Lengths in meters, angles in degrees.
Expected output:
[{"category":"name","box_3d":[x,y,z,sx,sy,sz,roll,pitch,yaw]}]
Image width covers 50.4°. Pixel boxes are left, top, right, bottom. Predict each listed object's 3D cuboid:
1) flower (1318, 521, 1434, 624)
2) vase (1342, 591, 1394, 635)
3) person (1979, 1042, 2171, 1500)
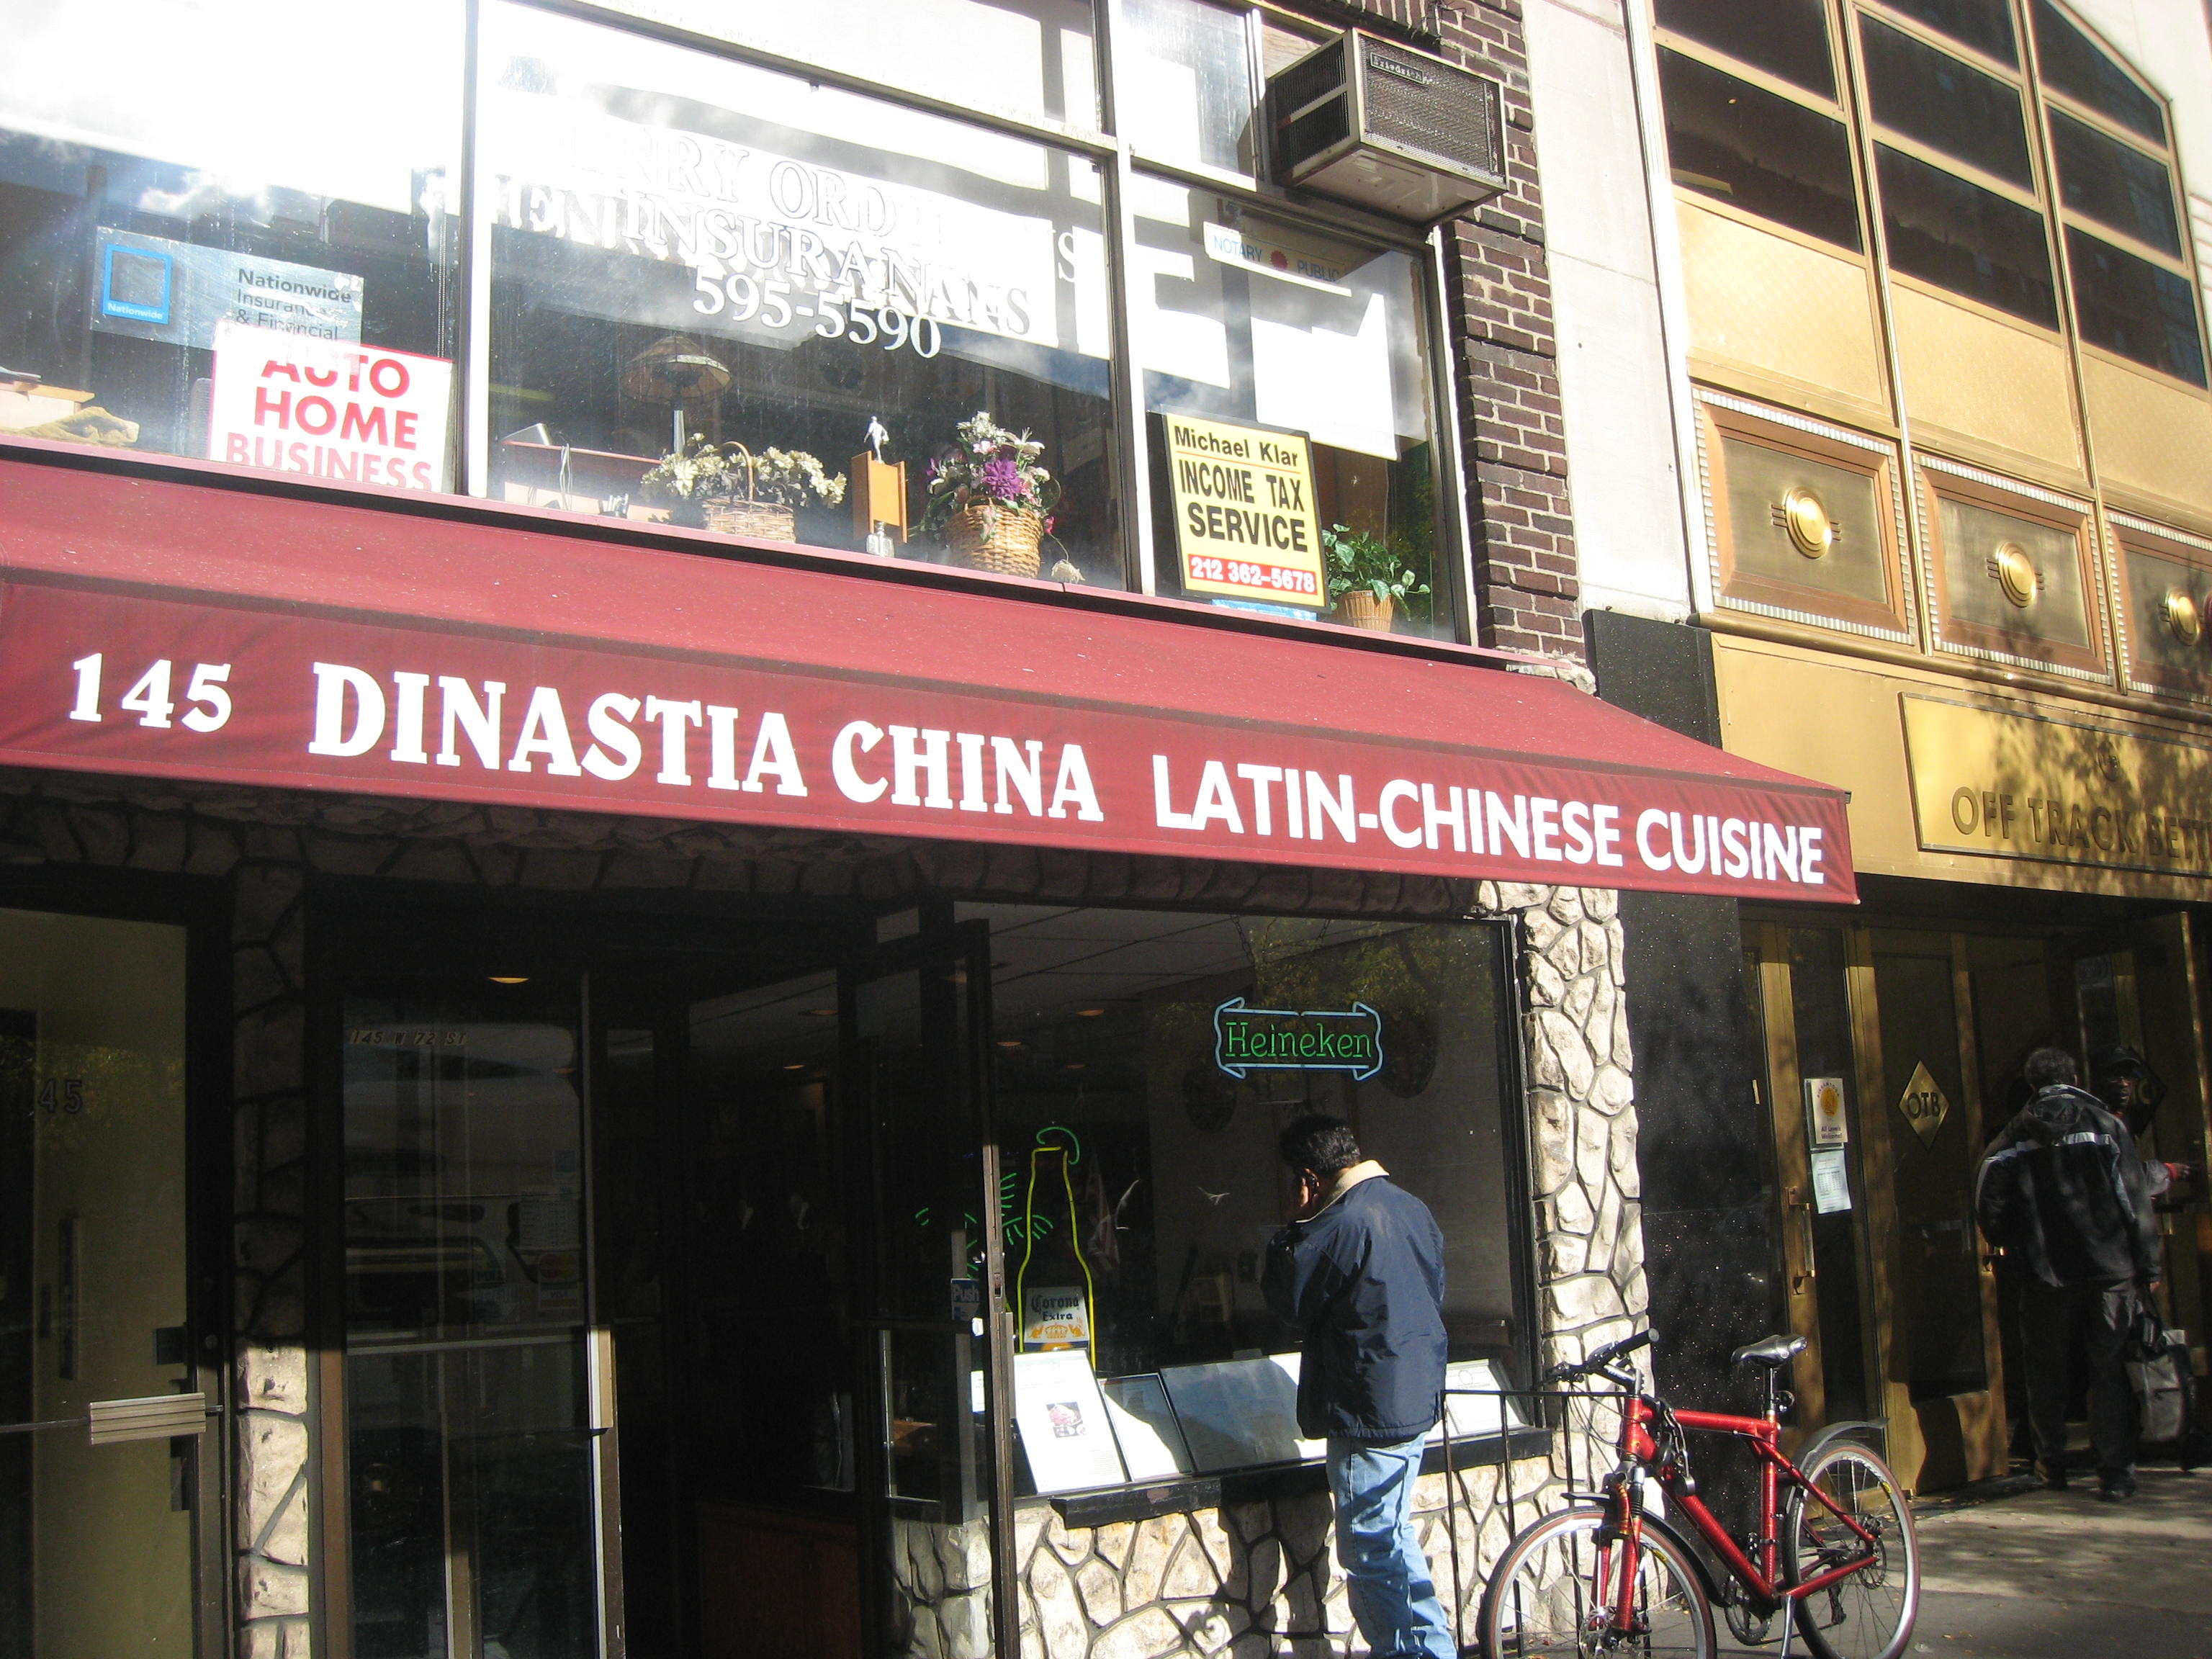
[{"category":"flower","box_3d":[1.274,-1.176,11.090,0.362,0.571,0.469,3,4,11]},{"category":"vase","box_3d":[1.229,-0.991,10.870,0.187,0.172,0.194,-7,-14,29]},{"category":"person","box_3d":[5.063,2.293,12.271,0.821,2.299,0.513,-9,-14,25]}]
